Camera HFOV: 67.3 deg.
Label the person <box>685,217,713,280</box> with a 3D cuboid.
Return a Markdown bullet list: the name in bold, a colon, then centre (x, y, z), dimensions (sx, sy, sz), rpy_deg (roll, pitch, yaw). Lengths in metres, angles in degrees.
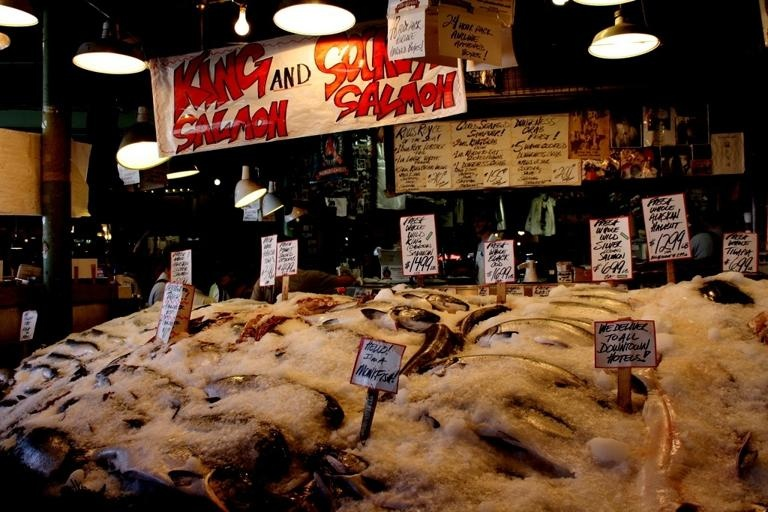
- **person**: centre (4.023, -0.130, 7.320), dimensions (0.307, 0.841, 1.266), rpy_deg (-1, -3, 29)
